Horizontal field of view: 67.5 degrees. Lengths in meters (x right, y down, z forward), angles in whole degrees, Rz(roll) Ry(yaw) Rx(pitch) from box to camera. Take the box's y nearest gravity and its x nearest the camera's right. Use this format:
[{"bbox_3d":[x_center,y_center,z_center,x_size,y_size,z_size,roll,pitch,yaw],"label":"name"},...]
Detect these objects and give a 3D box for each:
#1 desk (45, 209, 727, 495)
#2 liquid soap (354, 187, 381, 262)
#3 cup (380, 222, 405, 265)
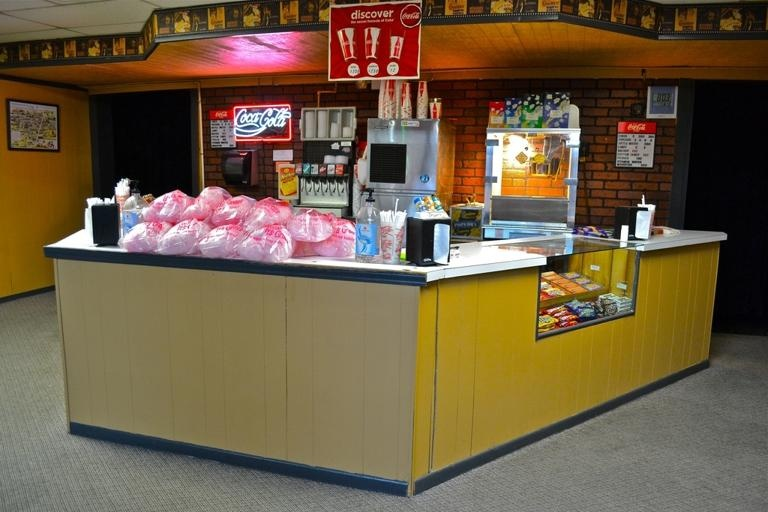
[{"bbox_3d":[0.150,0.661,4.495,4.908,1.493,1.702,-4,14,-20],"label":"desk"},{"bbox_3d":[-0.112,-0.201,3.834,0.162,0.439,0.203,-1,14,-4],"label":"liquid soap"},{"bbox_3d":[0.050,-0.087,3.799,0.155,0.262,0.070,0,14,-1],"label":"cup"}]
